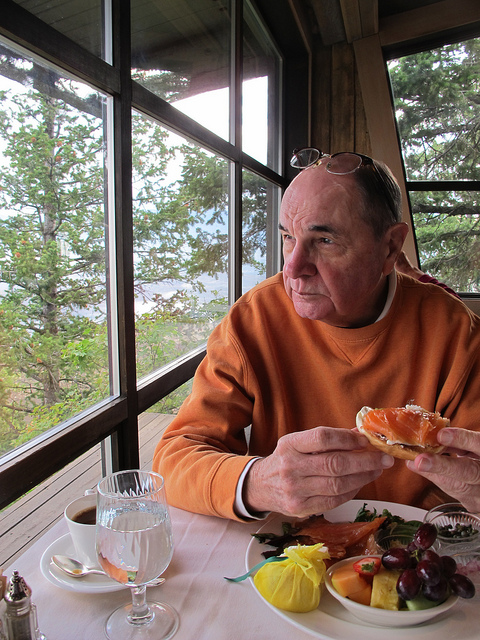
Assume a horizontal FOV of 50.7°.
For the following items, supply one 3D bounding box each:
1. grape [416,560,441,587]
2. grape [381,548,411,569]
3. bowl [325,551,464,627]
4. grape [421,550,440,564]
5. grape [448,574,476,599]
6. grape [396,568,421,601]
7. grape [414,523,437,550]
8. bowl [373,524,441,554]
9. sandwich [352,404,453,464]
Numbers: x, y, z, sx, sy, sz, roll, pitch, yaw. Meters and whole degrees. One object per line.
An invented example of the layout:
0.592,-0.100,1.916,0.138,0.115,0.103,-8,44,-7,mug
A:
0.241,0.322,0.641,0.026,0.030,0.025,-4,-12,13,grape
0.215,0.327,0.694,0.034,0.024,0.025,-12,-17,23,grape
0.208,0.364,0.696,0.172,0.048,0.165,-4,1,0,bowl
0.252,0.308,0.665,0.021,0.015,0.011,4,38,-42,grape
0.294,0.351,0.665,0.024,0.020,0.035,-24,26,-1,grape
0.217,0.339,0.647,0.023,0.039,0.027,36,-31,-7,grape
0.267,0.309,0.727,0.021,0.035,0.019,35,1,-36,grape
0.257,0.337,0.771,0.064,0.028,0.060,-1,-11,0,bowl
0.282,0.204,0.946,0.176,0.060,0.198,12,7,39,sandwich
